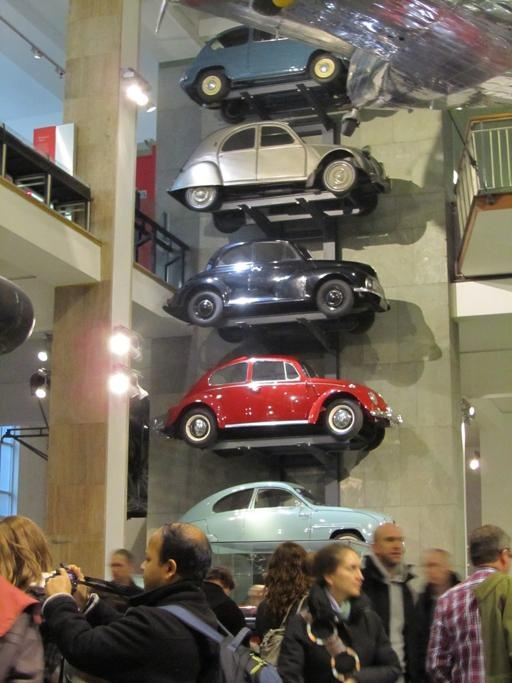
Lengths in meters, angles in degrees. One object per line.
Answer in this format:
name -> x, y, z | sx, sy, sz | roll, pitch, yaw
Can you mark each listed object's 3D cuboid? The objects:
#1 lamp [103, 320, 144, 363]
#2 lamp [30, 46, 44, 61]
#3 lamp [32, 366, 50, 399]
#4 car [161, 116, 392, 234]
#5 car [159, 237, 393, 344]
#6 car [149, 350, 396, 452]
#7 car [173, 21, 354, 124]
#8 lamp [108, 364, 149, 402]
lamp -> -1.664, -0.017, 10.511 | 0.305, 0.440, 0.497 | -12, -22, 34
lamp -> -3.988, -5.252, 14.987 | 0.176, 0.143, 0.128 | -6, 10, -28
lamp -> -3.486, 0.668, 13.332 | 0.419, 0.492, 0.200 | -7, 5, 14
car -> 0.299, -2.543, 12.386 | 3.040, 1.085, 1.480 | -2, -9, 17
car -> 0.145, -0.759, 11.814 | 2.891, 0.950, 1.029 | -2, -10, 2
car -> 0.247, 0.828, 11.500 | 3.173, 1.015, 1.053 | -4, -10, 17
car -> 0.218, -4.160, 12.706 | 2.586, 1.377, 1.230 | -9, -21, 30
lamp -> -1.601, 0.526, 10.492 | 0.403, 0.358, 0.535 | -4, -18, 17
